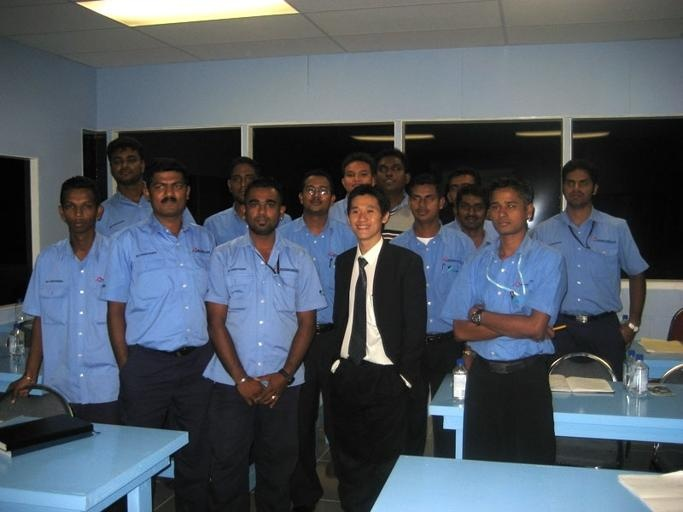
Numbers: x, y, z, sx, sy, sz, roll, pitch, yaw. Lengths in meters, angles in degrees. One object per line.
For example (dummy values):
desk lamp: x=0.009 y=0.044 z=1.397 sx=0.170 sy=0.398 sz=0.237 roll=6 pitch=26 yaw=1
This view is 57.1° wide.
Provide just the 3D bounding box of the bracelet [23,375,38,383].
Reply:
bracelet: x=-1.973 y=0.783 z=3.976 sx=0.056 sy=0.057 sz=0.067 roll=2 pitch=-17 yaw=-3

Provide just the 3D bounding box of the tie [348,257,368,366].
tie: x=0.116 y=0.333 z=3.932 sx=0.096 sy=0.649 sz=0.147 roll=0 pitch=4 yaw=31

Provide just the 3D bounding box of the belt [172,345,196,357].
belt: x=-1.016 y=0.613 z=4.048 sx=0.138 sy=0.066 sz=0.019 roll=-4 pitch=4 yaw=-34

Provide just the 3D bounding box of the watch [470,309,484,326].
watch: x=0.819 y=0.368 z=3.779 sx=0.088 sy=0.089 sz=0.062 roll=9 pitch=3 yaw=-30

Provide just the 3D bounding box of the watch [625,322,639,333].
watch: x=2.414 y=0.601 z=5.204 sx=0.071 sy=0.032 sz=0.095 roll=-5 pitch=33 yaw=-12

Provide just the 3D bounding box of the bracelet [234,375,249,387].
bracelet: x=-0.610 y=0.767 z=3.856 sx=0.059 sy=0.054 sz=0.057 roll=-7 pitch=-31 yaw=-16

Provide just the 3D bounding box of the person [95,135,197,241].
person: x=-1.603 y=-0.505 z=4.934 sx=0.933 sy=0.875 sz=0.373 roll=-10 pitch=2 yaw=-8
